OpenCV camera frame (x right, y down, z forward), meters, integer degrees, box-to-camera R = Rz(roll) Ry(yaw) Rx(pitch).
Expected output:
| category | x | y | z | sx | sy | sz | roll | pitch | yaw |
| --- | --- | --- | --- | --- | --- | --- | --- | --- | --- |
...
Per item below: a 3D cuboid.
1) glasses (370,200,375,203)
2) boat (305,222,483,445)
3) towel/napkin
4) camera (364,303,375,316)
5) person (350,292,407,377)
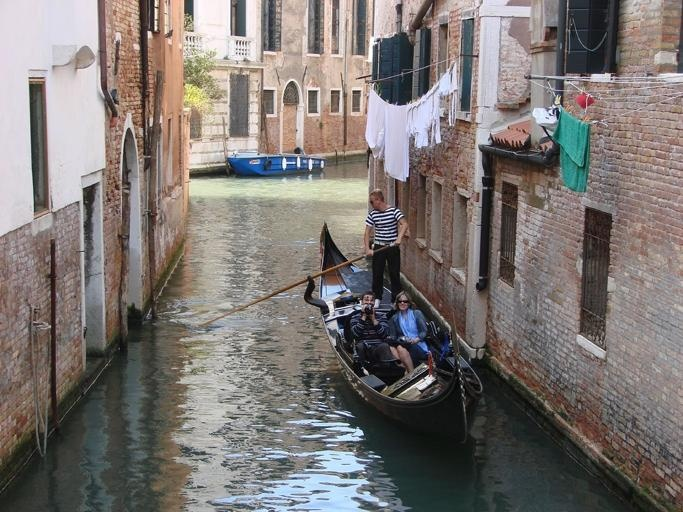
| category | x | y | z | sx | sy | sz | roll | pitch | yaw |
| --- | --- | --- | --- | --- | --- | --- | --- | --- | --- |
| glasses | 0.563 | -0.978 | 12.593 | 0.051 | 0.080 | 0.269 | -1 | 13 | -8 |
| boat | 0.533 | 1.039 | 10.744 | 1.214 | 1.860 | 5.734 | -7 | 23 | -9 |
| towel/napkin | 2.660 | -1.259 | 8.159 | 0.140 | 0.859 | 0.846 | -9 | 27 | -7 |
| camera | 0.412 | 0.781 | 10.468 | 0.118 | 0.157 | 0.133 | 16 | 18 | -7 |
| person | 0.463 | 1.115 | 10.233 | 0.582 | 1.194 | 2.005 | 3 | 9 | 5 |
